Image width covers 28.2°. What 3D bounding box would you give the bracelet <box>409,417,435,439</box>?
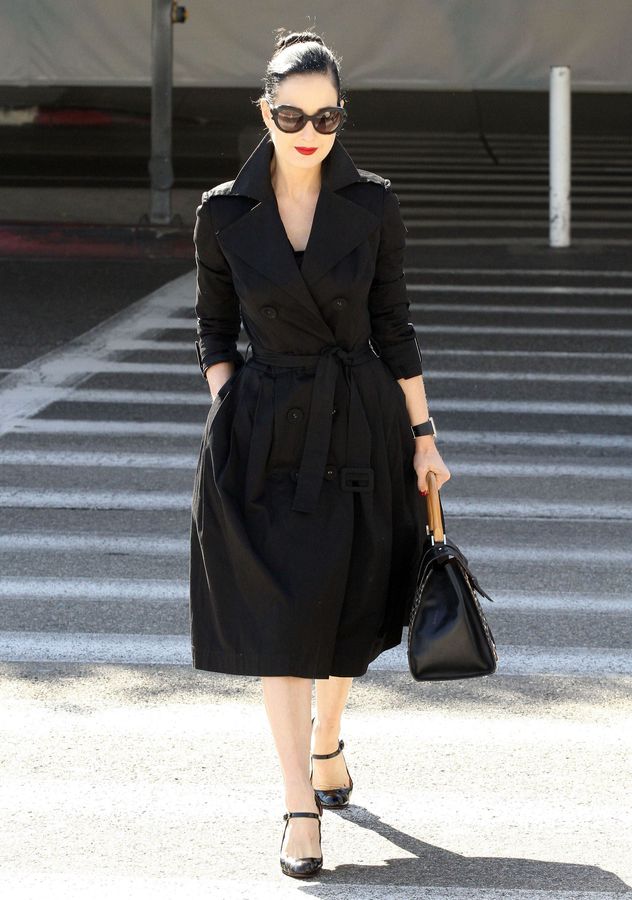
[{"bbox_3d":[0.323,-0.073,3.812,0.074,0.060,0.069,-11,-8,15],"label":"bracelet"}]

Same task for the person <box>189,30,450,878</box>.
[{"bbox_3d":[-0.061,-0.020,3.673,0.584,2.262,0.720,6,12,41],"label":"person"}]

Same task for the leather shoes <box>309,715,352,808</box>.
[{"bbox_3d":[0.049,0.997,3.948,0.090,0.085,0.233,-2,28,-1],"label":"leather shoes"}]

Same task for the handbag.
[{"bbox_3d":[0.374,0.376,3.557,0.233,0.502,0.353,-1,9,6],"label":"handbag"}]

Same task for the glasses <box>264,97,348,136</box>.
[{"bbox_3d":[-0.015,-0.893,3.440,0.231,0.102,0.139,-4,9,-19],"label":"glasses"}]
